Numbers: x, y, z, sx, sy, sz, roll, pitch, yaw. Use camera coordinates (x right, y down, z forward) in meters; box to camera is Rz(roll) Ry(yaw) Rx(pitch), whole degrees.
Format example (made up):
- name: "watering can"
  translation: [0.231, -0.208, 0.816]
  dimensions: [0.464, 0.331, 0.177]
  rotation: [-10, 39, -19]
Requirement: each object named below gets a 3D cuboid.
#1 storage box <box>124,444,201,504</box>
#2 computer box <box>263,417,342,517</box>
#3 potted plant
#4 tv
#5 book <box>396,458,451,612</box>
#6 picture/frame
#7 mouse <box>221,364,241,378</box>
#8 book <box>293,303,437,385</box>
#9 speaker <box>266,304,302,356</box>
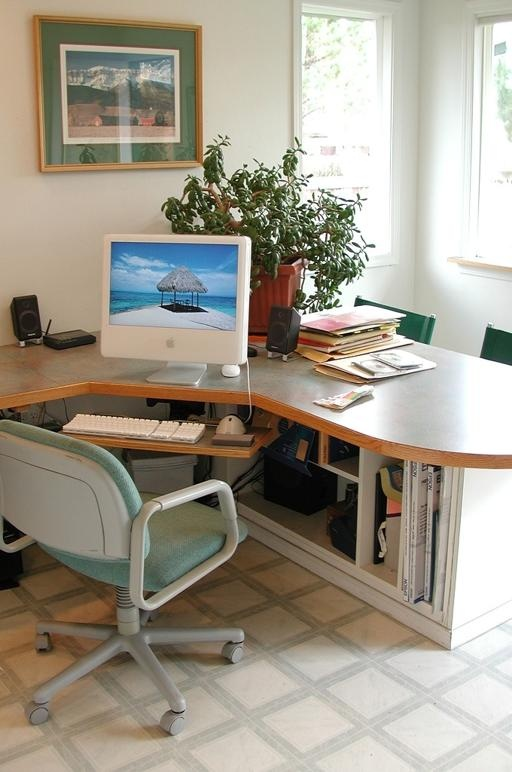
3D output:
- name: "storage box"
  translation: [-0.375, 0.325, 2.387]
  dimensions: [0.171, 0.142, 0.218]
  rotation: [13, 17, 42]
- name: "computer box"
  translation: [0.195, 0.332, 2.452]
  dimensions: [0.234, 0.429, 0.327]
  rotation: [6, 5, -33]
- name: "potted plant"
  translation: [0.127, -0.580, 2.601]
  dimensions: [0.609, 0.753, 0.753]
  rotation: [33, 16, 36]
- name: "tv"
  translation: [-0.242, -0.238, 1.875]
  dimensions: [0.454, 0.432, 0.161]
  rotation: [4, 8, 14]
- name: "book"
  translation: [0.452, 0.410, 1.664]
  dimensions: [0.141, 0.439, 0.127]
  rotation: [2, 8, 20]
- name: "picture/frame"
  translation: [-0.554, -1.145, 2.375]
  dimensions: [0.696, 0.517, 0.031]
  rotation: [-13, 24, -33]
- name: "mouse"
  translation: [-0.080, -0.047, 1.938]
  dimensions: [0.043, 0.028, 0.042]
  rotation: [4, 13, 9]
- name: "book"
  translation: [0.353, -0.135, 2.080]
  dimensions: [0.311, 0.073, 0.307]
  rotation: [-13, 21, -27]
- name: "speaker"
  translation: [0.094, -0.192, 2.117]
  dimensions: [0.094, 0.165, 0.085]
  rotation: [13, 15, 29]
